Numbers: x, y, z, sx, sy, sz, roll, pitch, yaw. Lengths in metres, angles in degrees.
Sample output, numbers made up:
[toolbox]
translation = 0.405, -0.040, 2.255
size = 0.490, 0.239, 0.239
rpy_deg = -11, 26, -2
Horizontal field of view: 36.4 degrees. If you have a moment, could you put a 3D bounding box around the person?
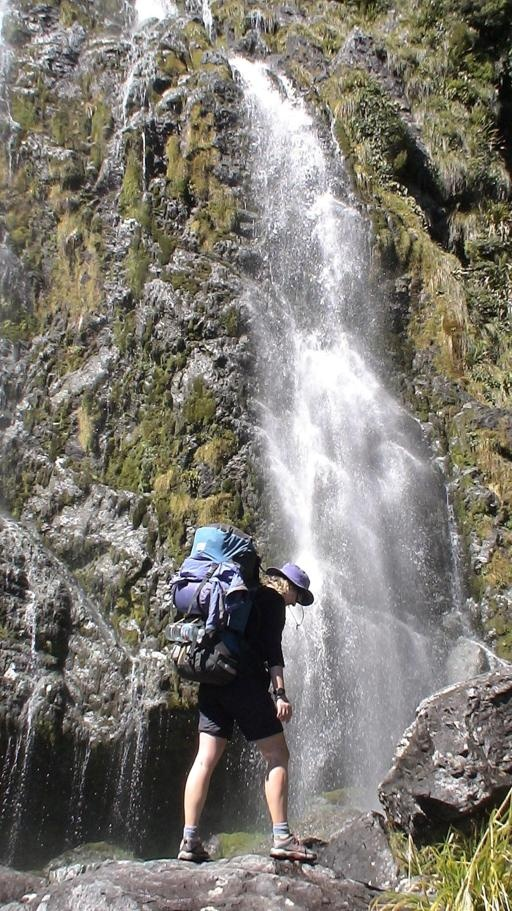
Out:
[person]
translation = -0.020, 1.345, 4.197
size = 0.754, 1.556, 0.578
rpy_deg = 4, -13, -20

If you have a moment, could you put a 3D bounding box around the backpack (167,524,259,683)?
[backpack]
translation = -0.226, 0.805, 4.279
size = 0.481, 0.868, 0.385
rpy_deg = -10, -23, 43

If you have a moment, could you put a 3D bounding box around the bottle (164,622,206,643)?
[bottle]
translation = -0.374, 0.939, 4.128
size = 0.102, 0.124, 0.297
rpy_deg = 10, -19, -37

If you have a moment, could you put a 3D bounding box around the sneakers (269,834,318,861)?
[sneakers]
translation = 0.185, 1.996, 3.995
size = 0.249, 0.172, 0.115
rpy_deg = 8, -30, -1
